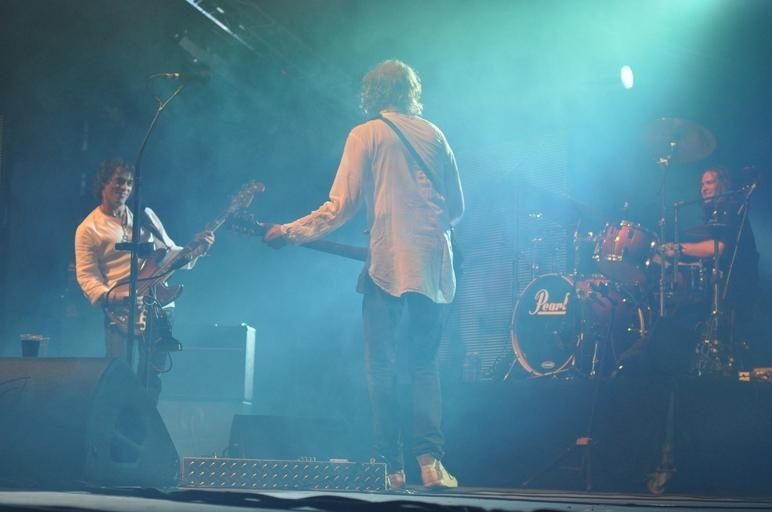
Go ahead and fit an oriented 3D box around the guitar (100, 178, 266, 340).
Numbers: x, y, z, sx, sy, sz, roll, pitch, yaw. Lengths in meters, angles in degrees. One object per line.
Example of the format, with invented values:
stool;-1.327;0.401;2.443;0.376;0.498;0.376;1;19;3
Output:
guitar;-2.135;0.017;8.716;0.834;2.318;0.328;39;-18;1

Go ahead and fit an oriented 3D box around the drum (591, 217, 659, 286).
drum;2.462;-0.026;8.495;0.571;0.514;0.682;14;-26;22

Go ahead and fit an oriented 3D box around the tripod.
tripod;2.019;1.243;8.730;1.237;2.061;1.357;1;-6;-22

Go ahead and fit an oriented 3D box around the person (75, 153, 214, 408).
person;-2.320;0.286;7.761;1.058;2.422;0.295;9;0;31

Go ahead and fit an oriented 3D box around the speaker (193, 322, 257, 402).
speaker;-1.838;1.193;9.284;0.887;0.840;0.810;4;-5;-44

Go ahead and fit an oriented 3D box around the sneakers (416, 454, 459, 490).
sneakers;0.395;1.654;6.274;0.313;0.243;0.159;5;-12;-4

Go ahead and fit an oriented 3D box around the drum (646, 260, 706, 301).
drum;2.987;0.251;8.425;0.567;0.496;0.291;5;-12;-1

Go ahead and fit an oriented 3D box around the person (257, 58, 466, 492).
person;0.031;0.087;6.458;1.272;3.339;0.432;5;-12;0

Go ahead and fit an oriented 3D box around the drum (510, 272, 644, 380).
drum;1.918;0.742;8.692;1.083;1.090;0.943;-3;-6;45
